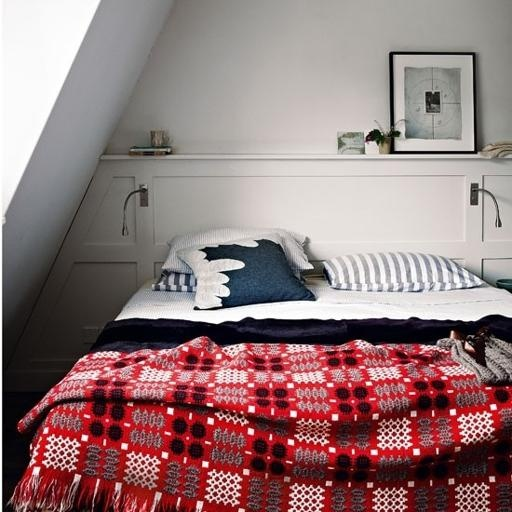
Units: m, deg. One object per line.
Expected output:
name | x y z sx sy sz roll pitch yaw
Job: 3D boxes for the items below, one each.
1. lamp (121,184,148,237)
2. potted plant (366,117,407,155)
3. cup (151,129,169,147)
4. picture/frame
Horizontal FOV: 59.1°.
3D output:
lamp | -0.717 -0.257 2.540 0.158 0.309 0.241 2 4 -1
potted plant | 0.770 -0.713 2.686 0.242 0.231 0.154 2 4 5
cup | -0.565 -0.682 2.646 0.122 0.108 0.095 0 8 -4
picture/frame | 1.044 -0.928 2.717 0.605 0.684 0.028 -1 -4 -6
